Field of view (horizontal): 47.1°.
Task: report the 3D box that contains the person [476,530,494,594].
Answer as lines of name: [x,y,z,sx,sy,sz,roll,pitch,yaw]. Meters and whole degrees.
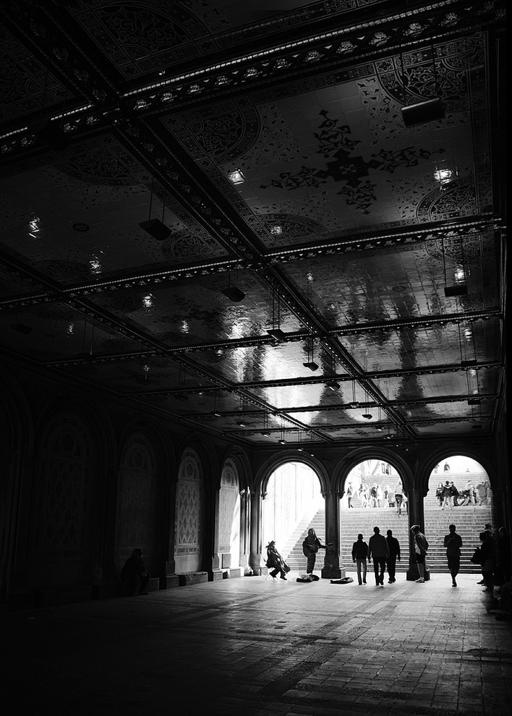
person: [6.339,5.549,16.034,0.370,1.536,1.392,-4,-13,20]

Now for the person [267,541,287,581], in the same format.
person: [0.714,7.198,20.822,0.670,1.314,0.690,3,-13,-13]

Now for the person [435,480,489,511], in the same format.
person: [10.020,6.649,28.333,2.426,1.169,1.361,3,-13,-13]

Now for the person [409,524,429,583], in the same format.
person: [5.441,6.535,19.626,0.523,1.772,1.491,-3,-13,14]

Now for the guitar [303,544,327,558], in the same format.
guitar: [2.027,6.779,20.591,0.831,0.337,0.566,8,-8,-13]

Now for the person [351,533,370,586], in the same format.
person: [3.362,6.479,18.887,0.517,1.545,1.182,-2,-12,10]
